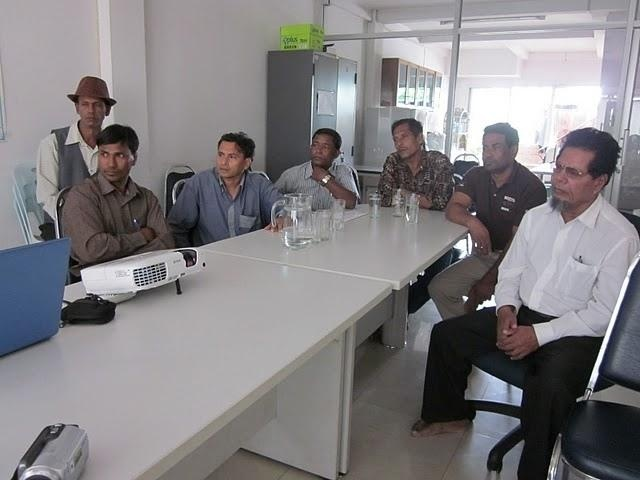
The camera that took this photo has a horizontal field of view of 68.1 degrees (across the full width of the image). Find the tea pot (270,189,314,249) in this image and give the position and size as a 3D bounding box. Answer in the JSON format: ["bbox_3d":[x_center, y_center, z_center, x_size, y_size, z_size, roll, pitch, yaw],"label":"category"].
[{"bbox_3d":[-0.156,-0.093,2.487,0.259,0.289,0.182,2,5,32],"label":"tea pot"}]

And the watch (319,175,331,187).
[{"bbox_3d":[0.042,-0.453,3.610,0.054,0.080,0.085,35,39,18],"label":"watch"}]

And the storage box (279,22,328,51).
[{"bbox_3d":[-0.203,-2.207,5.193,0.485,0.279,0.448,-2,19,-4],"label":"storage box"}]

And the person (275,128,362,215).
[{"bbox_3d":[0.027,-0.527,3.820,0.622,0.754,0.533,11,19,26],"label":"person"}]

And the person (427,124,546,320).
[{"bbox_3d":[1.031,-0.043,3.202,0.705,1.452,0.683,10,18,22],"label":"person"}]

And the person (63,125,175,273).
[{"bbox_3d":[-1.097,-0.038,2.614,0.508,1.154,0.559,9,12,35],"label":"person"}]

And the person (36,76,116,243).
[{"bbox_3d":[-1.746,-0.609,3.372,0.527,1.471,0.503,-8,24,-40],"label":"person"}]

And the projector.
[{"bbox_3d":[-0.646,0.138,1.798,0.280,0.184,0.414,-3,6,25],"label":"projector"}]

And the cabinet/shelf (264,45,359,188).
[{"bbox_3d":[-0.027,-1.428,5.975,0.538,1.693,1.658,6,14,21],"label":"cabinet/shelf"}]

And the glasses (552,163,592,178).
[{"bbox_3d":[1.094,-0.302,2.075,0.148,0.048,0.054,17,25,41],"label":"glasses"}]
